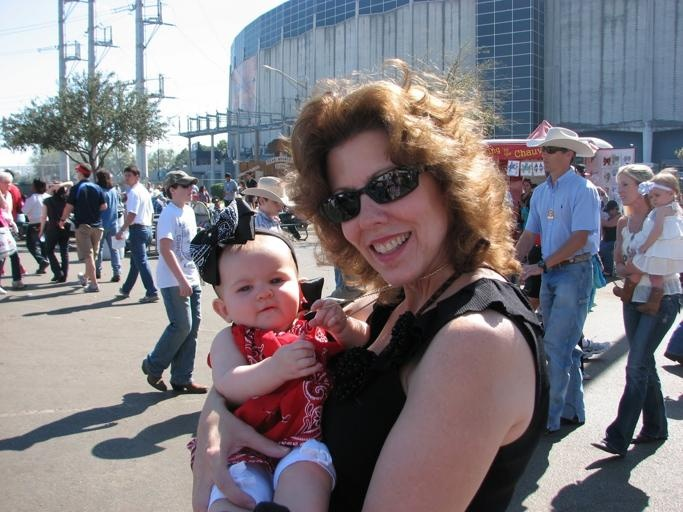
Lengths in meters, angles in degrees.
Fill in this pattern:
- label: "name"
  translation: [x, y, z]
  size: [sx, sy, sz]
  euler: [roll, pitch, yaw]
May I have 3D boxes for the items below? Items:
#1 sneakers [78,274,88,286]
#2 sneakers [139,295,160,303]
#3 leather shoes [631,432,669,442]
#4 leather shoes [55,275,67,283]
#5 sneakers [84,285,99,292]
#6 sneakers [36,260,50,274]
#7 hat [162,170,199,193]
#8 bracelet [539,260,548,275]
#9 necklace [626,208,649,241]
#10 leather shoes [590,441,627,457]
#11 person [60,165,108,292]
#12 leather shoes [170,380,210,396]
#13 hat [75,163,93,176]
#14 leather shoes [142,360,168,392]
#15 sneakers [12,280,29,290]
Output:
- label: "sneakers"
  translation: [-5.009, 0.439, 12.434]
  size: [0.162, 0.164, 0.440]
  euler: [-4, 21, -22]
- label: "sneakers"
  translation: [-3.306, 0.742, 11.015]
  size: [0.312, 0.183, 0.126]
  euler: [6, 9, 8]
- label: "leather shoes"
  translation: [2.779, 1.618, 5.731]
  size: [0.218, 0.088, 0.103]
  euler: [-10, -33, 20]
- label: "leather shoes"
  translation: [-5.622, 0.455, 12.836]
  size: [0.132, 0.119, 0.143]
  euler: [-1, 5, -17]
- label: "sneakers"
  translation: [-4.637, 0.580, 11.869]
  size: [0.256, 0.109, 0.443]
  euler: [-4, 11, -22]
- label: "sneakers"
  translation: [-6.605, 0.236, 14.176]
  size: [0.095, 0.216, 0.313]
  euler: [13, 31, -16]
- label: "hat"
  translation: [-1.916, -0.861, 7.602]
  size: [0.334, 0.208, 0.259]
  euler: [-15, 13, 1]
- label: "bracelet"
  translation: [1.915, 0.110, 6.048]
  size: [0.059, 0.087, 0.090]
  euler: [-40, 39, -9]
- label: "necklace"
  translation: [2.995, -0.320, 6.480]
  size: [0.125, 0.276, 0.184]
  euler: [23, 3, 41]
- label: "leather shoes"
  translation: [2.292, 1.646, 5.454]
  size: [0.213, 0.085, 0.093]
  euler: [13, -6, 37]
- label: "person"
  translation: [-4.883, -0.572, 12.208]
  size: [0.823, 2.324, 1.480]
  euler: [-4, 9, -25]
- label: "leather shoes"
  translation: [-1.607, 1.414, 6.806]
  size: [0.396, 0.203, 0.149]
  euler: [-3, 2, -4]
- label: "hat"
  translation: [-4.919, -1.649, 12.225]
  size: [0.198, 0.160, 0.288]
  euler: [23, 26, -27]
- label: "leather shoes"
  translation: [-1.980, 1.263, 6.774]
  size: [0.247, 0.361, 0.236]
  euler: [1, 9, 5]
- label: "sneakers"
  translation: [-6.095, 0.549, 12.161]
  size: [0.127, 0.186, 0.259]
  euler: [5, 11, 18]
